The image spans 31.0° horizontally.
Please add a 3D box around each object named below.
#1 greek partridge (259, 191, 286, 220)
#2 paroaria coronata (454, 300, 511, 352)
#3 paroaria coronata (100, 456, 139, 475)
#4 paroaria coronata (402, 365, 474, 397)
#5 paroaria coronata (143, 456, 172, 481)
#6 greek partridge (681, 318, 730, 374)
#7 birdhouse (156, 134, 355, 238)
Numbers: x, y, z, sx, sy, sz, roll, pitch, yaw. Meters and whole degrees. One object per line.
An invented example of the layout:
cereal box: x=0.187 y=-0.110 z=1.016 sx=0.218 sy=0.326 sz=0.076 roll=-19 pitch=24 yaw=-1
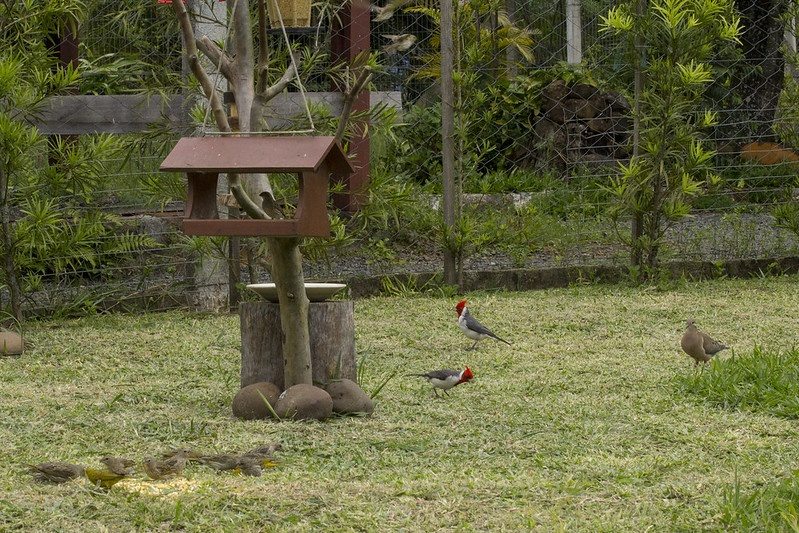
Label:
greek partridge: x=-0.915 y=-0.441 z=10.814 sx=0.225 sy=0.262 sz=0.119 roll=-15 pitch=18 yaw=-35
paroaria coronata: x=0.688 y=0.530 z=12.389 sx=0.499 sy=0.403 sz=0.172 roll=6 pitch=-4 yaw=11
paroaria coronata: x=-1.901 y=1.377 z=9.810 sx=0.204 sy=0.166 sz=0.115 roll=-6 pitch=-5 yaw=-5
paroaria coronata: x=0.315 y=0.963 z=11.272 sx=0.395 sy=0.604 sz=0.228 roll=0 pitch=-2 yaw=0
paroaria coronata: x=-1.650 y=1.406 z=9.921 sx=0.189 sy=0.150 sz=0.115 roll=13 pitch=-27 yaw=-23
greek partridge: x=2.458 y=0.625 z=11.783 sx=0.321 sy=0.382 sz=0.443 roll=5 pitch=8 yaw=37
birdhouse: x=-1.056 y=-0.572 z=10.561 sx=1.229 sy=0.775 sz=0.646 roll=1 pitch=2 yaw=17
